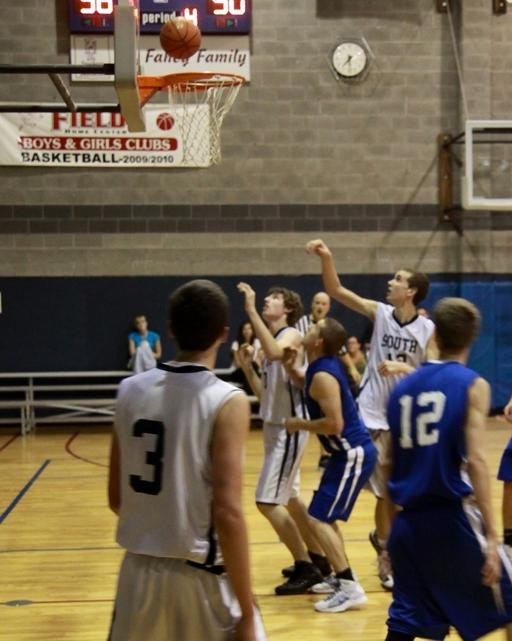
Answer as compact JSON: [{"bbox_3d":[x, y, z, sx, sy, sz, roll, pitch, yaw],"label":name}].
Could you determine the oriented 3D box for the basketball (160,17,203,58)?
[{"bbox_3d":[-0.563,-2.095,7.002,0.283,0.325,0.299,-1,4,-5],"label":"basketball"}]

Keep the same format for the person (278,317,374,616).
[{"bbox_3d":[0.427,0.810,5.304,0.508,1.638,0.315,-1,4,-3],"label":"person"}]
